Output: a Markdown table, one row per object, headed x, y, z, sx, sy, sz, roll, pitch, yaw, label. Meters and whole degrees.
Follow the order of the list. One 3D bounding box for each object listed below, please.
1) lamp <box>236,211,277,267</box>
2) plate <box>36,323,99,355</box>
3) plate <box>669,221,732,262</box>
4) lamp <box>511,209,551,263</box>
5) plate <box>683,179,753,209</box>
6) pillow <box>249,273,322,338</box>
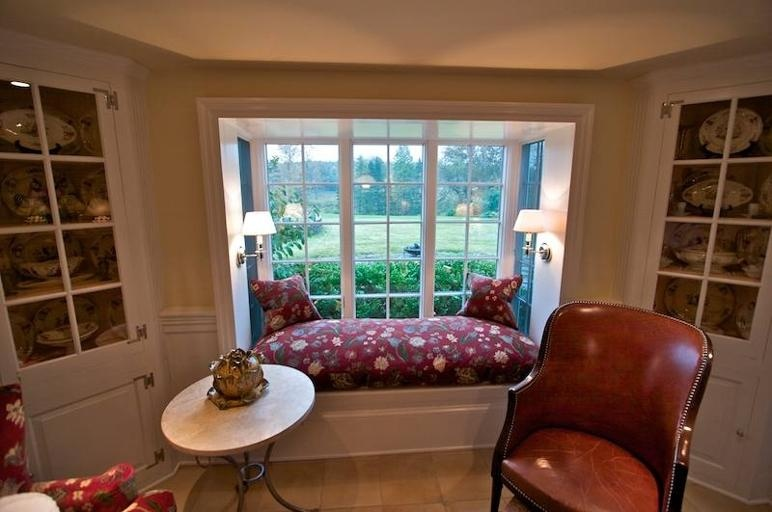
| x | y | z | sx | sy | sz | roll | pitch | yaw | label |
| --- | --- | --- | --- | --- | --- | --- | --- | --- | --- |
| -1.034 | -0.148 | 4.154 | 0.273 | 0.412 | 0.634 | -2 | 9 | -11 | lamp |
| -2.022 | 0.519 | 3.305 | 0.211 | 0.077 | 0.200 | 1 | 9 | -20 | plate |
| 2.042 | -0.096 | 3.548 | 0.320 | 0.273 | 0.085 | 4 | 4 | 33 | plate |
| 1.154 | -0.176 | 4.202 | 0.271 | 0.401 | 0.483 | 1 | 9 | 7 | lamp |
| 2.192 | -0.410 | 3.465 | 0.397 | 0.200 | 0.056 | 2 | 11 | 16 | plate |
| -0.797 | 0.366 | 4.057 | 0.504 | 0.454 | 0.149 | -19 | -12 | -40 | pillow |
